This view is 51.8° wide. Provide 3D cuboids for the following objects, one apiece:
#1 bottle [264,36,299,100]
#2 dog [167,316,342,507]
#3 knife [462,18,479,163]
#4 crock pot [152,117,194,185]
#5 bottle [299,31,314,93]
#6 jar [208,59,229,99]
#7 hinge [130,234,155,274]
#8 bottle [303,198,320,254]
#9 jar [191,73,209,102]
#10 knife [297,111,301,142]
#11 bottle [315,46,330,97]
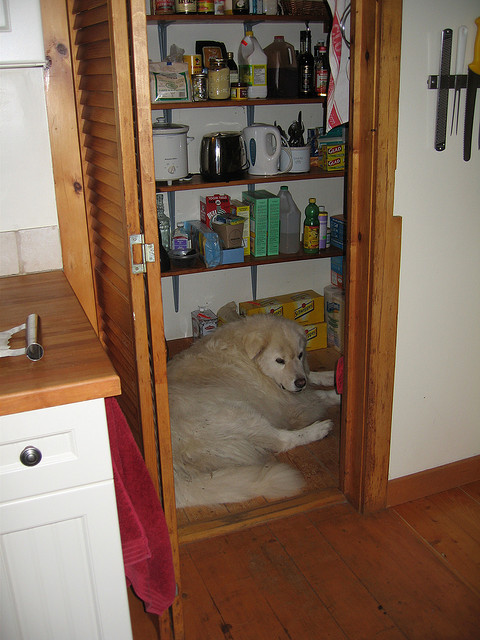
[{"bbox_3d":[0.214,-1.286,2.544,0.164,0.286,0.130,-2,14,0],"label":"bottle"},{"bbox_3d":[0.084,0.306,2.039,0.744,0.511,0.697,-5,15,-9],"label":"dog"},{"bbox_3d":[0.643,-0.628,1.372,0.029,0.363,0.057,5,16,27],"label":"knife"},{"bbox_3d":[-0.321,-0.778,2.337,0.171,0.267,0.147,-7,15,-16],"label":"crock pot"},{"bbox_3d":[0.351,-1.352,2.614,0.074,0.309,0.192,0,15,8],"label":"bottle"},{"bbox_3d":[-0.104,-1.162,2.391,0.104,0.183,0.111,0,27,0],"label":"jar"},{"bbox_3d":[-0.187,-0.126,0.952,0.045,0.075,0.014,-6,14,-13],"label":"hinge"},{"bbox_3d":[0.398,-0.529,2.779,0.091,0.292,0.167,-1,14,7],"label":"bottle"},{"bbox_3d":[-0.190,-1.115,2.375,0.083,0.136,0.098,-4,15,-5],"label":"jar"},{"bbox_3d":[0.338,-1.084,2.807,0.023,0.247,0.025,-2,-15,14],"label":"knife"},{"bbox_3d":[0.429,-1.297,2.592,0.073,0.263,0.194,0,15,9],"label":"bottle"}]
